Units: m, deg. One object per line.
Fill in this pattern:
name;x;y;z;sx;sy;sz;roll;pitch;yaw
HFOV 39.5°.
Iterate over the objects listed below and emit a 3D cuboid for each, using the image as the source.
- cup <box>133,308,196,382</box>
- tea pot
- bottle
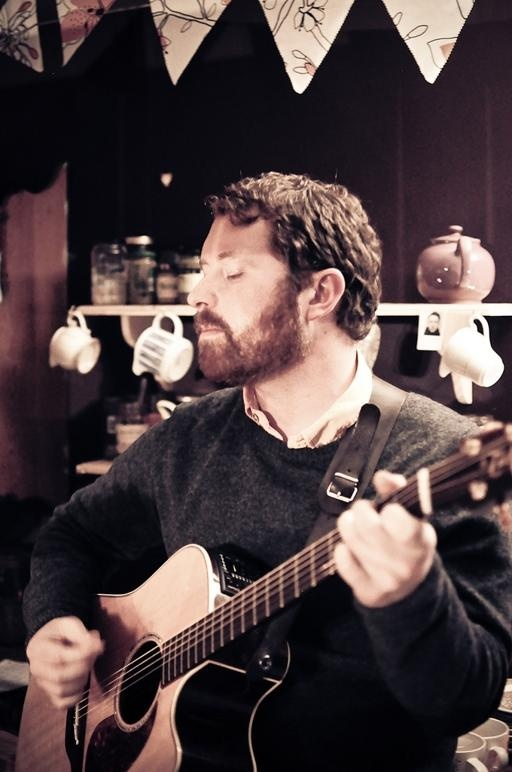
cup;-0.195;-0.087;1.593;0.111;0.175;0.119;1;11;0
tea pot;0.352;-0.216;1.290;0.110;0.127;0.145;2;5;7
bottle;-0.257;-0.260;1.630;0.239;0.229;0.142;-1;5;1
